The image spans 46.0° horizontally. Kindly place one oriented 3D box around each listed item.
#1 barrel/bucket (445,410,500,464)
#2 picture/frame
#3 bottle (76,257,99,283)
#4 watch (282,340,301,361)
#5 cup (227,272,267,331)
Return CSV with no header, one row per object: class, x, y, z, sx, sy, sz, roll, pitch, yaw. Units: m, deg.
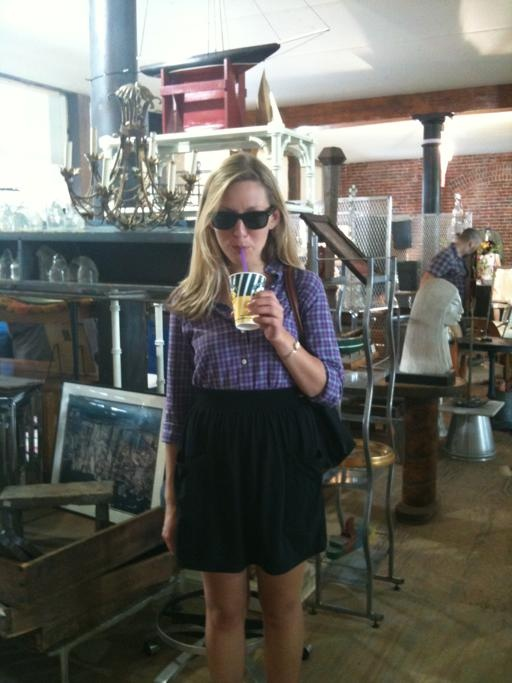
barrel/bucket,1.642,0.693,4.653,0.449,0.415,0.369,0,6,22
picture/frame,-0.566,0.426,2.367,0.588,0.492,0.051,7,1,30
bottle,-0.785,-0.331,2.787,0.092,0.120,0.266,0,4,-17
watch,0.072,0.017,1.186,0.035,0.014,0.032,-38,10,12
cup,-0.014,-0.074,1.145,0.063,0.109,0.088,3,4,16
